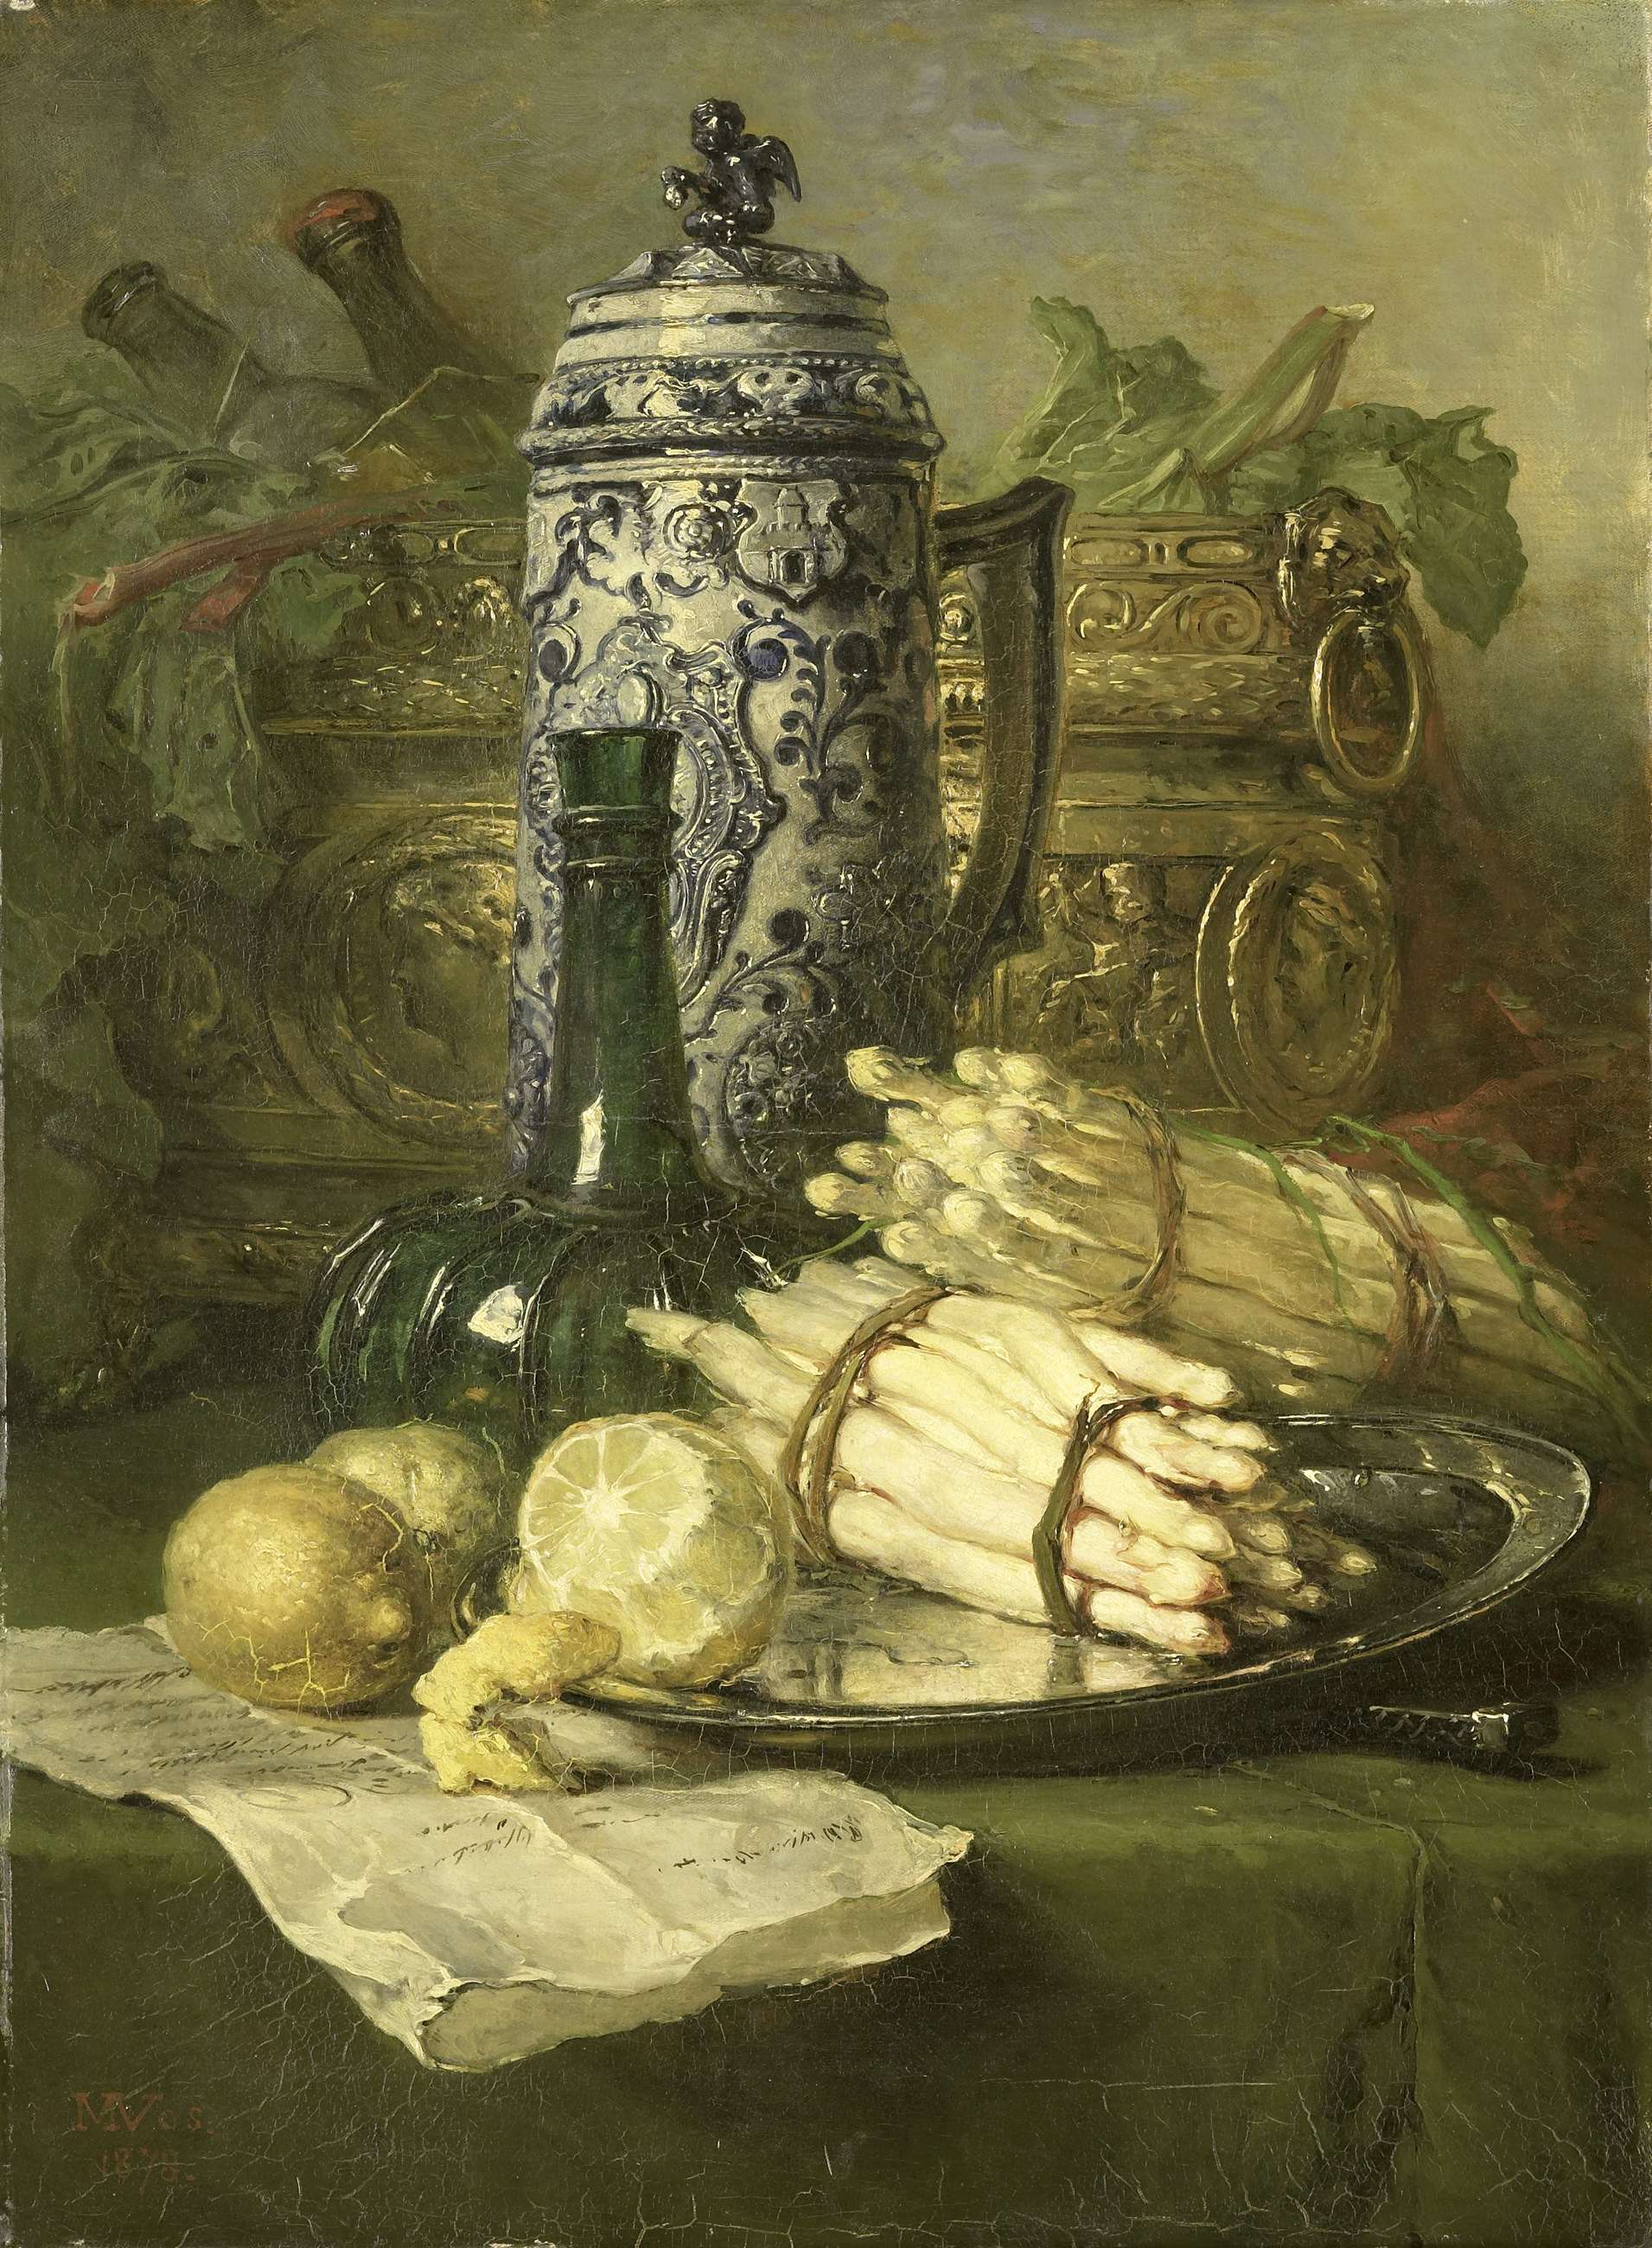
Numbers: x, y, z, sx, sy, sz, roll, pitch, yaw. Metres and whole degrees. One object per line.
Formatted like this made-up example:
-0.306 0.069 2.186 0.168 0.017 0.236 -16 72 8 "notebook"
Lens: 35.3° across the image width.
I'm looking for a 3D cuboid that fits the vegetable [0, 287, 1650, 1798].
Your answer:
0.013 -0.147 1.832 1.314 0.803 0.751 0 4 2 "vegetable"
